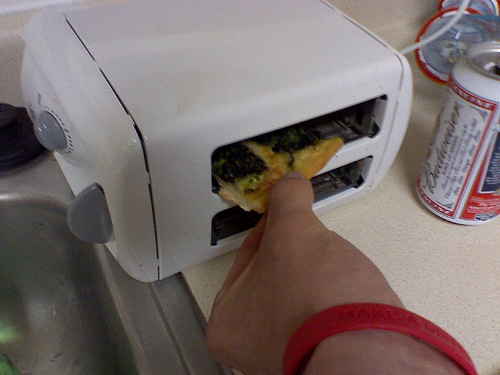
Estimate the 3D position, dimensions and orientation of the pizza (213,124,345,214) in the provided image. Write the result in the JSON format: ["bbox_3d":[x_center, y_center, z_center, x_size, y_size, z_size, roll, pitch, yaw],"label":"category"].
[{"bbox_3d":[0.036,-0.035,0.681,0.158,0.045,0.119,-17,53,-9],"label":"pizza"}]
